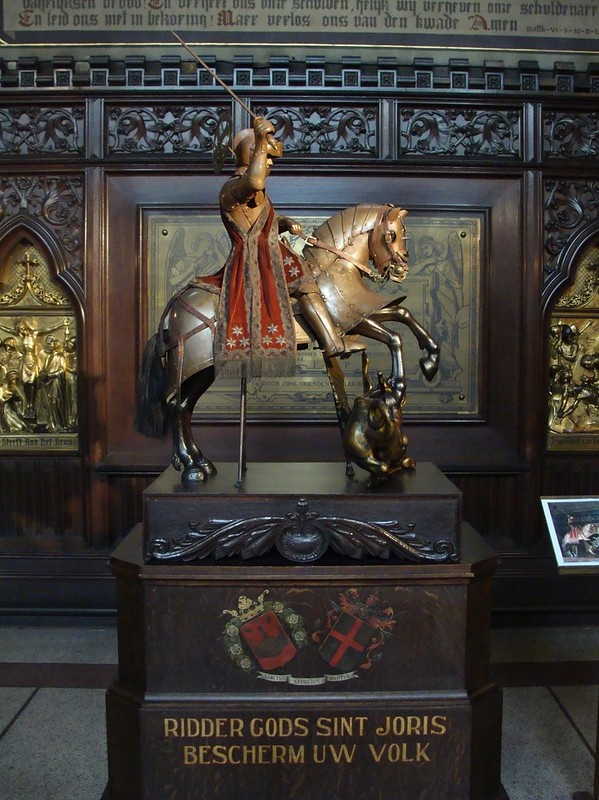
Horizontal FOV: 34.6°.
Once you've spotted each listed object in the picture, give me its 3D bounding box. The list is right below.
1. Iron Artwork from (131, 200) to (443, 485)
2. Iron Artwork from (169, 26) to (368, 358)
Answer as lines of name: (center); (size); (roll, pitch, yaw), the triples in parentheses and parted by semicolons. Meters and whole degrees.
Iron Artwork: (-0.068, -0.222, 3.582); (1.080, 0.965, 1.061); (-4, 1, 40)
Iron Artwork: (-0.061, -0.584, 3.399); (0.466, 0.882, 0.271); (-3, 8, 1)
